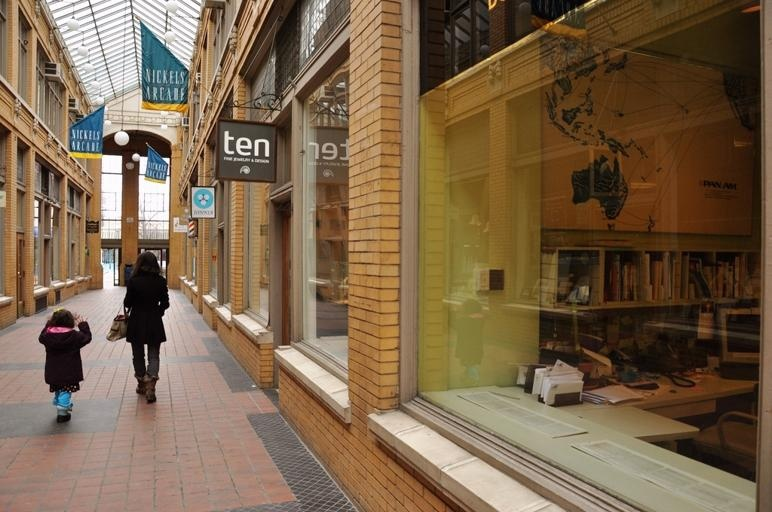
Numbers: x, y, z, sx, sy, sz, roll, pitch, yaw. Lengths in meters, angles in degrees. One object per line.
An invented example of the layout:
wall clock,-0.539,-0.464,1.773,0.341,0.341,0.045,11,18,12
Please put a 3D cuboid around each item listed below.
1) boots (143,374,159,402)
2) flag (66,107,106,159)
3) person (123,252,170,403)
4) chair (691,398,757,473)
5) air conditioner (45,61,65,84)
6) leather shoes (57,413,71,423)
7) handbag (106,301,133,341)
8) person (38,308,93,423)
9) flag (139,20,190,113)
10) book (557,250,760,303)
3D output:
boots,-3.542,1.969,7.869,0.171,0.419,0.442,1,-33,-9
flag,-11.216,-4.751,19.724,1.048,1.888,1.151,0,1,-25
person,-3.722,1.033,8.141,0.615,2.212,1.128,0,1,-23
chair,1.625,0.855,2.531,0.252,0.344,0.284,-1,5,-30
air conditioner,-13.992,-7.807,22.037,0.494,0.723,0.983,0,0,-23
leather shoes,-4.177,2.079,6.806,0.087,0.081,0.190,2,2,-2
handbag,-4.136,1.039,8.111,0.277,0.584,0.736,0,0,-28
person,-4.210,1.419,6.902,0.576,1.409,0.376,0,1,-15
flag,-5.589,-4.834,13.286,1.101,2.113,0.789,0,1,-22
book,1.427,0.121,2.902,0.223,0.332,1.136,0,0,-38
